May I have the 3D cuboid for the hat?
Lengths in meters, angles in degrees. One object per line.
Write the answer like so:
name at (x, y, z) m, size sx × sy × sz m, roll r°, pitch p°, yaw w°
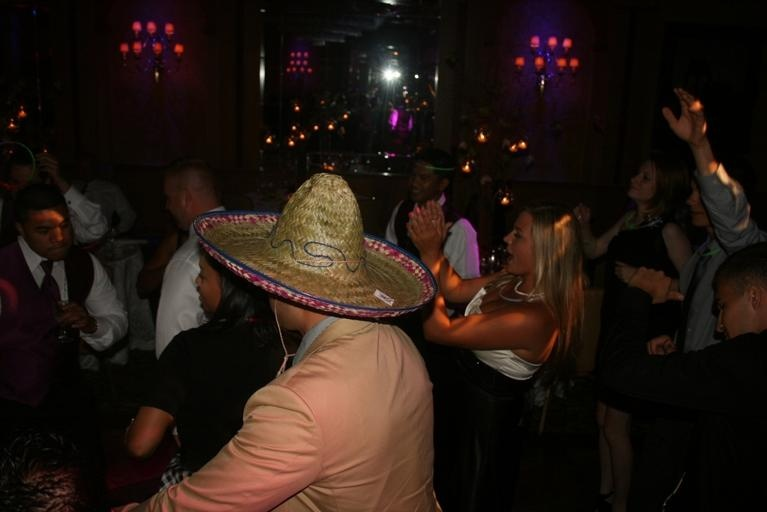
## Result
hat at (-0.301, 0.024, 3.021) m, size 0.939 × 0.361 × 0.809 m, roll 23°, pitch 15°, yaw -3°

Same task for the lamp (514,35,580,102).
lamp at (2.690, -3.174, 10.573) m, size 1.043 × 1.050 × 0.323 m, roll 3°, pitch 0°, yaw -11°

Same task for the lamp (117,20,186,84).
lamp at (-3.941, -3.460, 10.874) m, size 0.969 × 1.136 × 1.004 m, roll 19°, pitch 25°, yaw 32°

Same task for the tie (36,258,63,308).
tie at (-2.146, 0.189, 4.062) m, size 0.111 × 0.397 × 0.105 m, roll -6°, pitch -13°, yaw -13°

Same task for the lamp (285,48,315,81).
lamp at (-1.420, -3.234, 10.704) m, size 0.494 × 0.501 × 0.116 m, roll 3°, pitch 7°, yaw 15°

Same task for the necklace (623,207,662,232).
necklace at (2.087, -0.290, 5.124) m, size 0.149 × 0.126 × 0.236 m, roll 27°, pitch -8°, yaw -29°

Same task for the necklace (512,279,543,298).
necklace at (0.926, 0.212, 4.063) m, size 0.126 × 0.031 × 0.095 m, roll 8°, pitch -15°, yaw 44°
